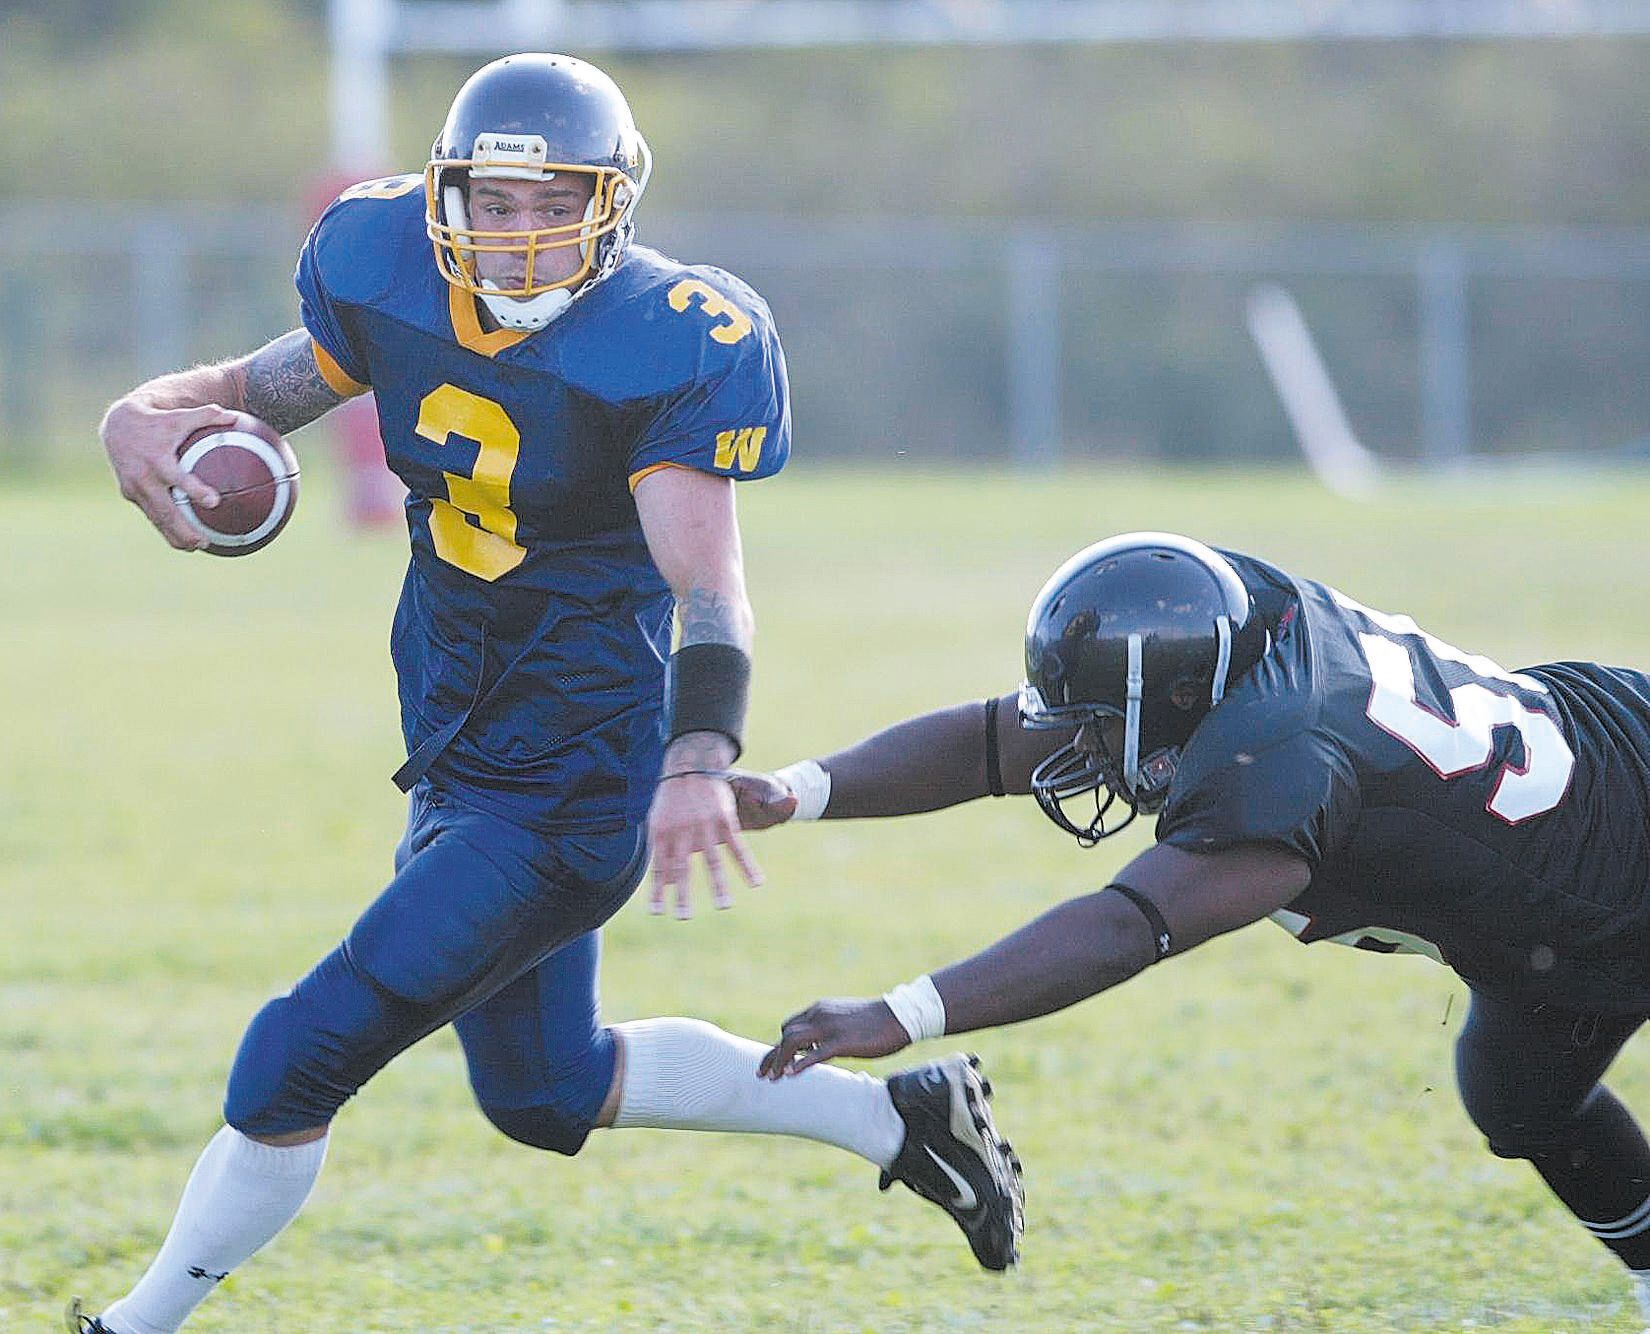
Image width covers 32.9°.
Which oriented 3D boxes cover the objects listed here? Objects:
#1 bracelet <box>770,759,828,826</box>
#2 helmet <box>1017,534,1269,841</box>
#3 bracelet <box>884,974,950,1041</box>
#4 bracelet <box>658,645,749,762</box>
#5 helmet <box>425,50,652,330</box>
[{"bbox_3d":[-0.043,0.248,5.695,0.097,0.107,0.115,-20,-24,-13],"label":"bracelet"},{"bbox_3d":[0.644,0.016,5.484,0.601,0.518,0.458,-11,4,7],"label":"helmet"},{"bbox_3d":[0.167,0.632,5.190,0.093,0.122,0.105,-1,14,-28],"label":"bracelet"},{"bbox_3d":[-0.225,0.049,5.303,0.146,0.202,0.140,4,13,-5],"label":"bracelet"},{"bbox_3d":[-0.580,-0.942,5.507,0.441,0.527,0.344,4,13,-6],"label":"helmet"}]
